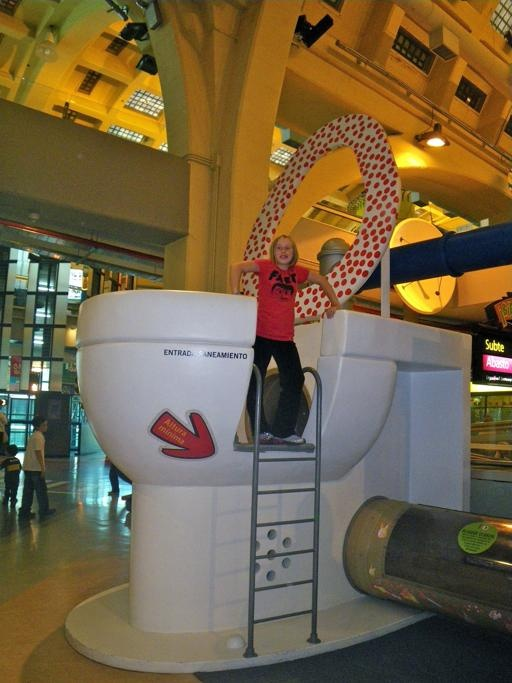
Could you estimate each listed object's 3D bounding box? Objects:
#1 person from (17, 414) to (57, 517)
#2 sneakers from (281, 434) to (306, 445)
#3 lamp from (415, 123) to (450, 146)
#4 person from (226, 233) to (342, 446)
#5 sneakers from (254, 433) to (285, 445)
[{"bbox_3d":[-2.034,1.177,4.839,0.286,0.942,0.392,6,-12,-23],"label":"person"},{"bbox_3d":[0.192,0.503,2.683,0.112,0.055,0.128,0,-11,5],"label":"sneakers"},{"bbox_3d":[3.011,-3.592,8.958,0.357,0.228,0.486,13,-4,-23],"label":"lamp"},{"bbox_3d":[0.134,-0.016,2.932,0.741,1.154,0.518,9,-14,-37],"label":"person"},{"bbox_3d":[0.065,0.495,2.590,0.162,0.066,0.058,18,-23,-40],"label":"sneakers"}]
